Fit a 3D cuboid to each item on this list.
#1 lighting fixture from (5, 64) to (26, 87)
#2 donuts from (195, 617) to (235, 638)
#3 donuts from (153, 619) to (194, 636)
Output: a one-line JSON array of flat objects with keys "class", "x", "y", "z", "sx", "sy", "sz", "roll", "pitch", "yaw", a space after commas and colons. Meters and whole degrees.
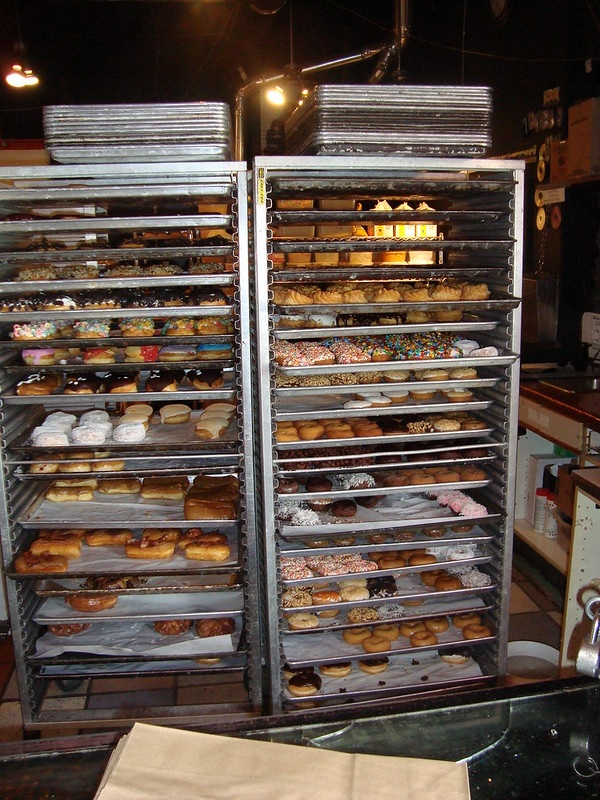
[{"class": "lighting fixture", "x": -3.058, "y": -3.497, "z": 7.372, "sx": 0.180, "sy": 0.222, "sz": 0.320, "roll": -3, "pitch": 0, "yaw": -21}, {"class": "donuts", "x": -0.387, "y": 1.034, "z": 3.106, "sx": 0.108, "sy": 0.032, "sz": 0.107, "roll": -4, "pitch": -5, "yaw": 39}, {"class": "donuts", "x": -0.585, "y": 1.045, "z": 3.146, "sx": 0.128, "sy": 0.036, "sz": 0.130, "roll": 1, "pitch": -3, "yaw": -2}]
